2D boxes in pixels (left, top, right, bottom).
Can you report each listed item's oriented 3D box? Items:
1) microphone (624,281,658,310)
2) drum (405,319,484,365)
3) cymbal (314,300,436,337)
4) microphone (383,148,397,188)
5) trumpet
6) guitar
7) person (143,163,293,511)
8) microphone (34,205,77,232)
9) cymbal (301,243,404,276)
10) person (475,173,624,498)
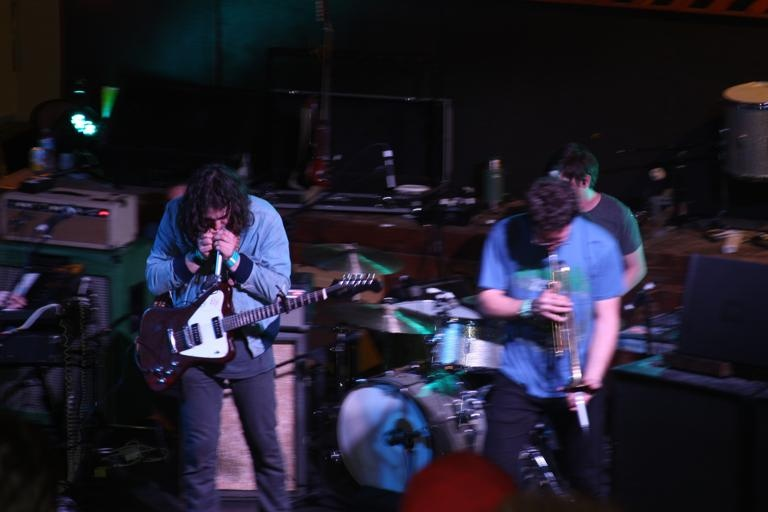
[{"bbox_3d":[2.083,0.325,5.241,0.082,0.300,0.177,19,35,-47],"label":"microphone"},{"bbox_3d":[0.474,0.566,4.088,0.385,0.242,0.364,3,-11,1],"label":"drum"},{"bbox_3d":[-0.015,0.407,4.087,0.538,0.088,0.449,12,-2,-3],"label":"cymbal"},{"bbox_3d":[0.048,-0.878,6.438,0.171,0.418,0.228,4,7,-1],"label":"microphone"},{"bbox_3d":[0.892,0.313,3.147,0.149,0.653,0.270,0,8,-27],"label":"trumpet"},{"bbox_3d":[-0.849,0.463,3.705,1.131,0.641,0.292,2,8,-14],"label":"guitar"},{"bbox_3d":[-0.945,0.476,4.033,0.968,1.833,0.961,-1,4,-22],"label":"person"},{"bbox_3d":[-2.427,-0.265,4.711,0.311,0.205,0.016,4,8,6],"label":"microphone"},{"bbox_3d":[-0.237,0.022,4.541,0.848,0.201,0.263,-1,19,-1],"label":"cymbal"},{"bbox_3d":[0.845,0.592,3.305,0.845,1.915,0.796,-8,14,-23],"label":"person"}]
